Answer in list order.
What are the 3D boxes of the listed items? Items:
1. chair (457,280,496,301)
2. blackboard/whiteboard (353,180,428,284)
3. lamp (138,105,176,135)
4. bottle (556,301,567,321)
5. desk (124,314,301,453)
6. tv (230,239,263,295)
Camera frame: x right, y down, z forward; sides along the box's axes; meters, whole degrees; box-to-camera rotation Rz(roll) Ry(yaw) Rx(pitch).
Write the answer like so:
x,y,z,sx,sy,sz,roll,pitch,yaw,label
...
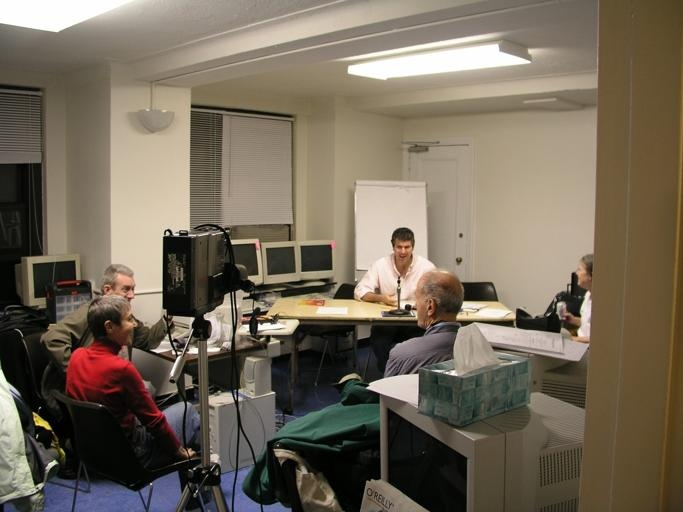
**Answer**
x,y,z,sx,sy,sz,roll,pitch,yaw,label
1.391,0.350,5.674,0.253,0.365,0.293,0,-3,0,chair
0.501,-0.265,5.920,1.087,1.453,0.135,0,-4,-17,blackboard/whiteboard
-1.566,-1.168,4.657,0.326,0.207,0.222,-3,4,-28,lamp
1.539,0.379,3.837,0.098,0.141,0.047,-4,15,-25,bottle
-1.143,0.795,4.312,1.042,1.060,1.083,2,5,29,desk
-0.967,0.068,5.554,0.227,0.490,0.420,-1,3,16,tv
